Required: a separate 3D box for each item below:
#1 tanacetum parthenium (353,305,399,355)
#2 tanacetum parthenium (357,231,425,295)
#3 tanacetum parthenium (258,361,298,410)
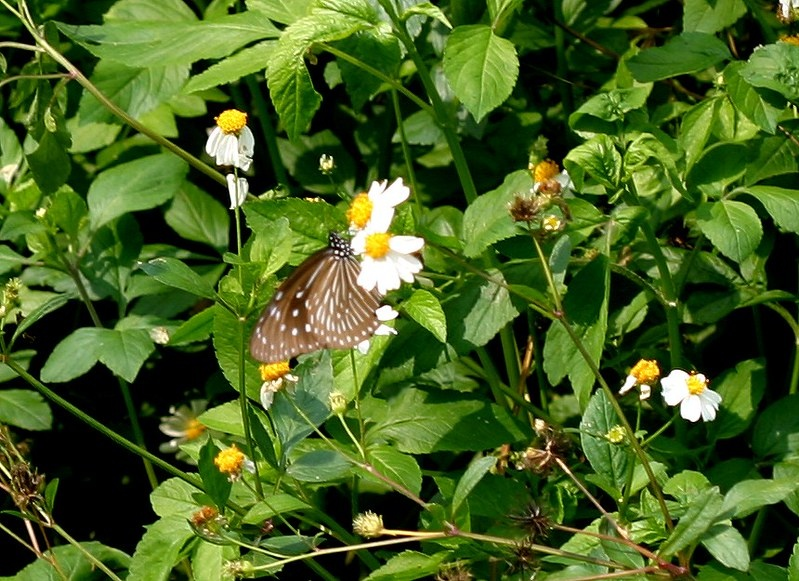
[{"bbox_3d":[-0.048,0.107,2.099,0.025,0.120,0.078,35,29,-15],"label":"tanacetum parthenium"},{"bbox_3d":[-0.018,-0.054,2.001,0.144,0.092,0.121,-9,64,-7],"label":"tanacetum parthenium"},{"bbox_3d":[-0.284,0.218,2.231,0.094,0.037,0.114,-22,56,29],"label":"tanacetum parthenium"}]
